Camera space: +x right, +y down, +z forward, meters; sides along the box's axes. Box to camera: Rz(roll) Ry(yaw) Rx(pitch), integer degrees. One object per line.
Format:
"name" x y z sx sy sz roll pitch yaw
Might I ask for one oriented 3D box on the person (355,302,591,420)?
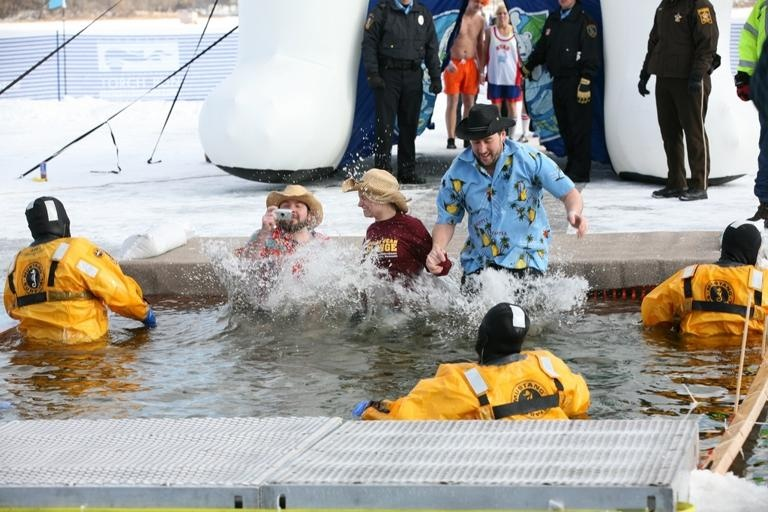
"person" 0.853 1.004 9.810 1.456 0.770 1.064 -4 10 -19

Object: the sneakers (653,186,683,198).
"sneakers" 3.603 -0.805 15.591 0.394 0.157 0.137 5 7 11

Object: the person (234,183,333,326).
"person" -1.023 -0.368 12.465 0.903 0.676 0.499 -4 14 -18

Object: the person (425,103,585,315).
"person" 1.188 -0.374 11.916 1.405 1.539 0.546 2 13 8

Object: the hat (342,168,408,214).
"hat" 0.007 -0.583 12.118 0.581 0.242 0.426 20 4 -36

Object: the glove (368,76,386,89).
"glove" -0.088 -2.296 16.315 0.141 0.141 0.170 5 7 8

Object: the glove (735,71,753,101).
"glove" 4.099 -1.939 14.049 0.150 0.266 0.207 1 14 5

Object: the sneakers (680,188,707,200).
"sneakers" 3.851 -0.769 15.303 0.335 0.132 0.127 2 9 -3

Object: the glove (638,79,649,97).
"glove" 3.227 -2.070 15.254 0.088 0.183 0.192 11 12 10

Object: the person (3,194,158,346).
"person" -3.032 0.187 12.357 1.272 1.547 1.083 2 25 25

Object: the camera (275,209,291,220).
"camera" -0.990 -0.409 12.241 0.184 0.114 0.098 1 13 4
